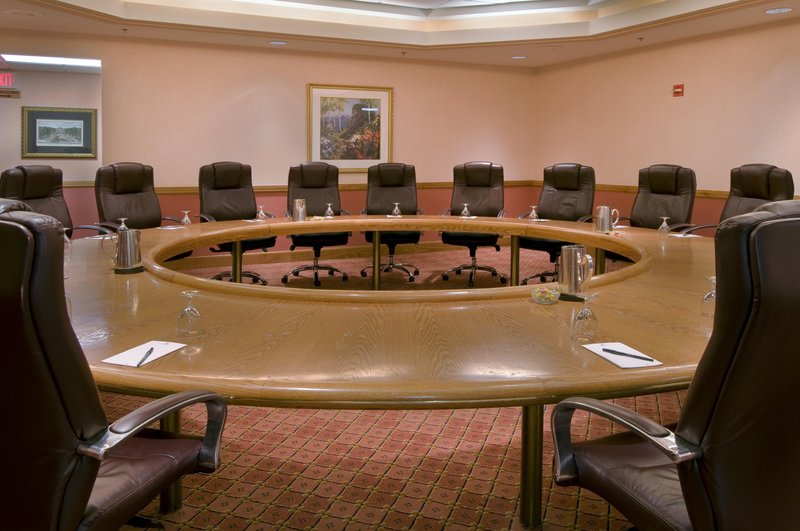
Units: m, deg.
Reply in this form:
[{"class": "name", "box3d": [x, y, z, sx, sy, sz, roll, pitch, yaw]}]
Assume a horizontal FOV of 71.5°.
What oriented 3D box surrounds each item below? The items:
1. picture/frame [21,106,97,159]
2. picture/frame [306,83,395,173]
[{"class": "picture/frame", "box3d": [-3.642, -1.414, 5.882, 0.655, 0.493, 0.027, -1, 2, -27]}, {"class": "picture/frame", "box3d": [-0.688, -1.804, 7.173, 1.442, 1.262, 0.101, -7, 18, -22]}]
